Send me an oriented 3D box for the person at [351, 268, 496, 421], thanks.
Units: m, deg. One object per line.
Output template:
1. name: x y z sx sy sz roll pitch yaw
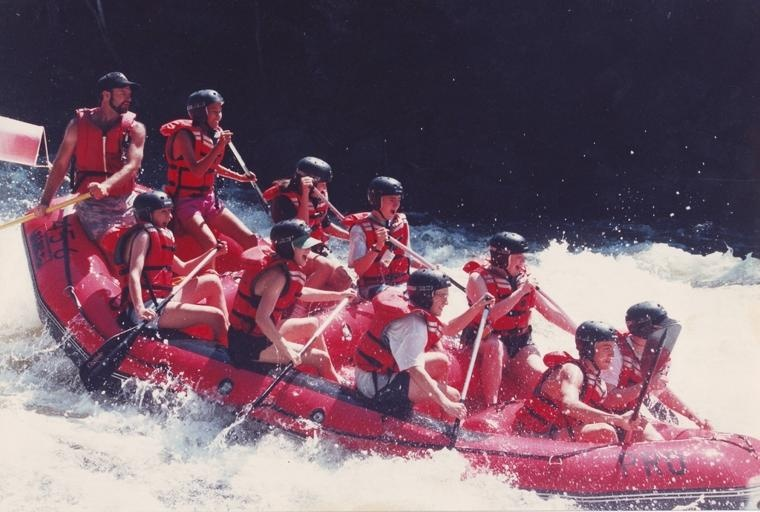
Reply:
1. person: 0.264 0.874 7.502 1.390 1.766 1.181 -3 25 -5

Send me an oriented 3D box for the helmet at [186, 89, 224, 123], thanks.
1. helmet: -2.004 -1.716 8.827 0.402 0.332 0.327 -5 13 -2

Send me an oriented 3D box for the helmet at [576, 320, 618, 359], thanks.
1. helmet: 2.047 0.812 7.677 0.405 0.389 0.318 4 12 -24

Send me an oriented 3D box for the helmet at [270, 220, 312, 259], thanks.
1. helmet: -0.871 -0.169 7.633 0.404 0.336 0.305 1 11 -3

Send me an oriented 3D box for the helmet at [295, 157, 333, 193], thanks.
1. helmet: -0.788 -0.998 9.344 0.439 0.434 0.345 11 23 -8

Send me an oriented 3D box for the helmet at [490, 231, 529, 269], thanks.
1. helmet: 1.387 -0.056 8.341 0.408 0.359 0.318 1 13 14

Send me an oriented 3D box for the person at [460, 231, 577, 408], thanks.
1. person: 1.554 0.784 8.730 1.034 2.183 1.243 18 -33 -35

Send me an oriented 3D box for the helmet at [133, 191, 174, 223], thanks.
1. helmet: -2.369 -0.492 8.086 0.333 0.345 0.297 -7 12 -3

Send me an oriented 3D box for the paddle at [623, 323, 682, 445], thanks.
1. paddle: 2.663 1.306 7.688 0.210 1.208 0.156 26 1 29

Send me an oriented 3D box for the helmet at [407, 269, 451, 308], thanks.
1. helmet: 0.458 0.302 7.592 0.466 0.381 0.378 6 16 31

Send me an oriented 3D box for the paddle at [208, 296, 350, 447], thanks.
1. paddle: -1.058 1.198 7.662 0.206 1.853 0.134 44 6 20

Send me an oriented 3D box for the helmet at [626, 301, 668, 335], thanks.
1. helmet: 2.722 0.667 7.955 0.450 0.354 0.364 -10 -1 42

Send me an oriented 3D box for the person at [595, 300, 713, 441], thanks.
1. person: 2.746 1.249 7.655 0.880 0.563 2.356 -15 -19 -1

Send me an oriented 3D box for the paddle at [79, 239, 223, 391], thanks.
1. paddle: -2.348 0.666 7.871 0.343 1.865 0.094 44 -17 16

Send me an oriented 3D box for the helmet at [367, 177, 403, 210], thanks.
1. helmet: 0.053 -0.724 8.908 0.391 0.382 0.443 -4 11 -18
